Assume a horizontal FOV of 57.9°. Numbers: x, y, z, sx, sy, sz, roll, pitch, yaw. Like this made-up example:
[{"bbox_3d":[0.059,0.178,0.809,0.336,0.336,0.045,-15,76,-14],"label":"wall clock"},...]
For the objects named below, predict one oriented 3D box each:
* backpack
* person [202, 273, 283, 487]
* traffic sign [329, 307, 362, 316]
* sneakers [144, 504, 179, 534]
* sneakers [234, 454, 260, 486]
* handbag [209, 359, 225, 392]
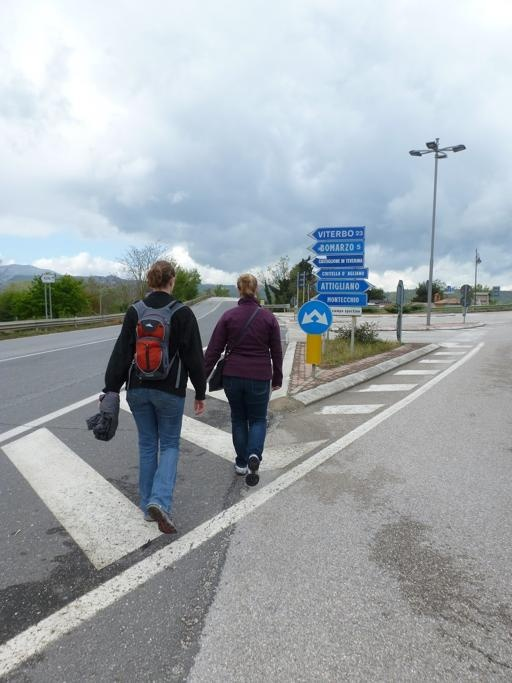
[{"bbox_3d":[-0.650,-0.015,2.913,0.307,0.506,0.286,2,0,14],"label":"backpack"},{"bbox_3d":[-0.089,0.285,3.790,0.510,1.651,0.544,3,7,26],"label":"person"},{"bbox_3d":[2.181,-0.713,11.309,0.714,0.216,0.703,1,5,8],"label":"traffic sign"},{"bbox_3d":[-0.579,1.092,2.812,0.085,0.206,0.092,-30,3,11],"label":"sneakers"},{"bbox_3d":[-0.044,1.040,3.510,0.118,0.325,0.142,-1,16,-6],"label":"sneakers"},{"bbox_3d":[-0.313,0.278,3.745,0.124,0.279,0.210,0,6,-6],"label":"handbag"}]
